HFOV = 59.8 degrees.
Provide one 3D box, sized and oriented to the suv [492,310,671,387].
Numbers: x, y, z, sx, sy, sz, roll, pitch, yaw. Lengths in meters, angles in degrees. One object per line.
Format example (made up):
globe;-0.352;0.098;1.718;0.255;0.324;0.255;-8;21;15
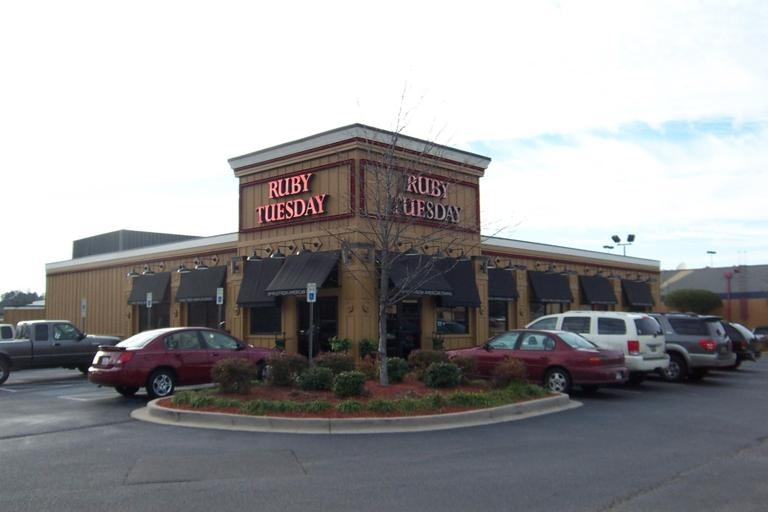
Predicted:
suv;7.184;2.971;21.727;4.474;1.720;2.351;2;-1;36

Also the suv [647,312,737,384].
suv;10.902;3.053;22.623;3.363;1.681;1.841;1;-2;38

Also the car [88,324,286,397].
car;-5.960;3.024;19.224;4.216;1.953;0.979;3;-12;-30
